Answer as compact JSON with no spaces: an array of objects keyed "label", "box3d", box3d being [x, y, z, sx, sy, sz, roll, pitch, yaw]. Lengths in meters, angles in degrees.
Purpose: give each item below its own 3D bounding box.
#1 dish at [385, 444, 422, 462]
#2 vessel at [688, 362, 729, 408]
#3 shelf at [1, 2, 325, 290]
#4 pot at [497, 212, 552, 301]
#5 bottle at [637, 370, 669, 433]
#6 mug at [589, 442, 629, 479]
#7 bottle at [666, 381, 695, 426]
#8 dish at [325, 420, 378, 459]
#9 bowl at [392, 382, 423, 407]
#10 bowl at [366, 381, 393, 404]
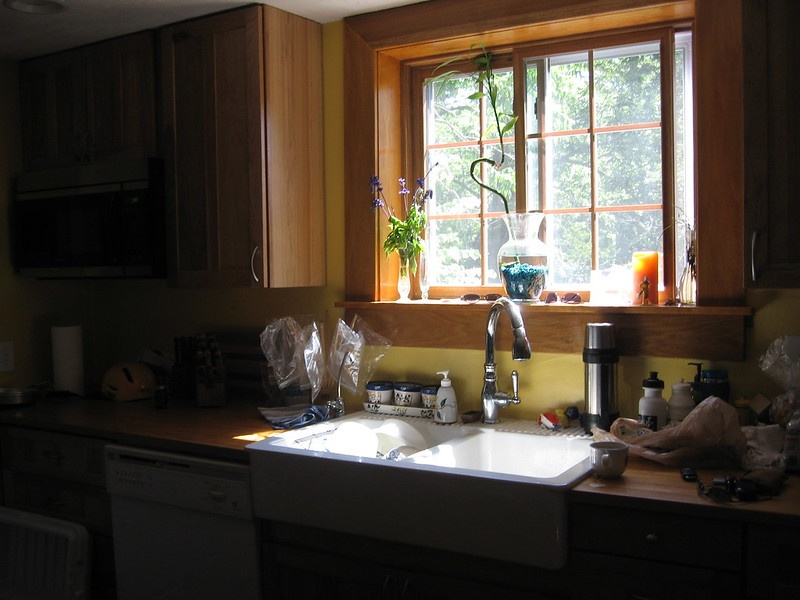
[{"label":"dish","box3d":[0.011,0.566,2.498,0.131,0.041,0.083,-11,0,-3]},{"label":"vessel","box3d":[1.052,0.300,2.268,0.135,0.144,0.101,-3,-4,36]},{"label":"shelf","box3d":[-0.981,-0.689,2.920,1.067,0.808,0.361,-2,-2,29]},{"label":"pot","box3d":[0.477,-0.166,2.574,0.191,0.338,0.129,-2,4,6]},{"label":"bottle","box3d":[0.859,0.354,2.277,0.084,0.159,0.075,-2,4,14]},{"label":"mug","box3d":[0.610,0.465,1.963,0.084,0.078,0.109,3,8,35]},{"label":"bottle","box3d":[0.950,0.345,2.268,0.081,0.127,0.147,-1,5,24]},{"label":"dish","box3d":[-0.175,0.532,2.544,0.125,0.035,0.143,12,34,11]},{"label":"bowl","box3d":[0.030,0.385,2.737,0.105,0.089,0.090,-5,5,-27]},{"label":"bowl","box3d":[-0.080,0.383,2.796,0.084,0.063,0.087,0,-5,0]}]
